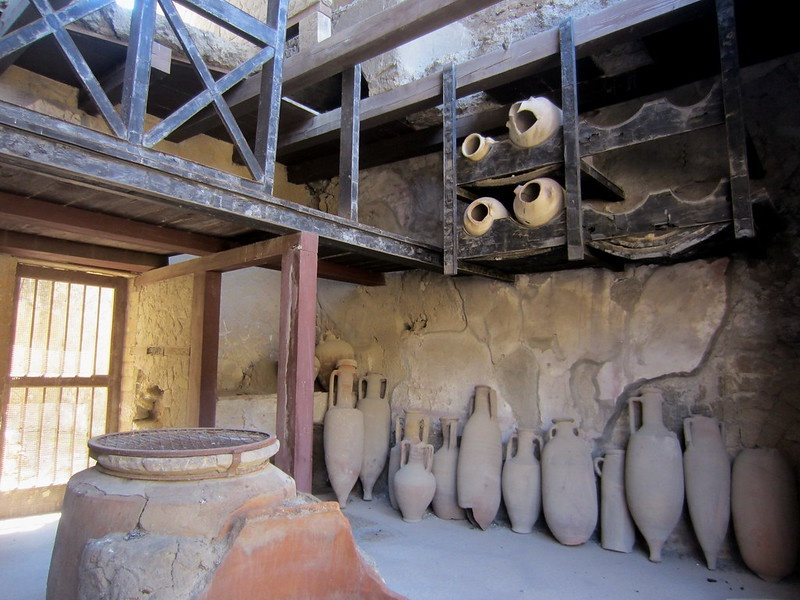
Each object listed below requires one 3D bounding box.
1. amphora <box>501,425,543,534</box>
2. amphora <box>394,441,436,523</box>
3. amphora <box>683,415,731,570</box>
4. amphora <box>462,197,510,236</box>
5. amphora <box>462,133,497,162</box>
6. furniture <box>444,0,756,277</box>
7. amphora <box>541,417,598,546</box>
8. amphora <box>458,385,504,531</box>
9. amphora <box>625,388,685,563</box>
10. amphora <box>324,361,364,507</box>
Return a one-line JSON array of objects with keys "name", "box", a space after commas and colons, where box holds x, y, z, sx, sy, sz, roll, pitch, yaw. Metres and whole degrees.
[{"name": "amphora", "box": [1.059, 1.584, 5.490, 0.341, 0.864, 0.293, 1, 3, 10]}, {"name": "amphora", "box": [0.129, 1.671, 5.801, 0.413, 0.723, 0.424, 5, -1, -44]}, {"name": "amphora", "box": [2.392, 1.497, 4.904, 0.342, 1.104, 0.344, 2, 3, 25]}, {"name": "amphora", "box": [0.703, -0.685, 5.313, 0.313, 0.350, 0.357, 25, 16, 14]}, {"name": "amphora", "box": [0.667, -1.280, 5.272, 0.292, 0.187, 0.291, -2, -5, 12]}, {"name": "furniture", "box": [1.678, -1.256, 5.061, 2.345, 2.184, 0.884, -4, -6, 28]}, {"name": "amphora", "box": [1.410, 1.529, 5.279, 0.509, 0.980, 0.380, 3, 4, 38]}, {"name": "amphora", "box": [0.725, 1.412, 5.695, 0.399, 1.193, 0.555, 1, 3, 7]}, {"name": "amphora", "box": [2.029, 1.384, 5.062, 0.424, 1.295, 0.506, 1, 3, -7]}, {"name": "amphora", "box": [-0.576, 1.310, 6.269, 0.399, 1.407, 0.672, 1, 3, -6]}]
